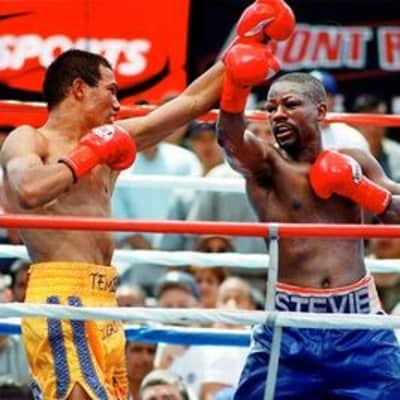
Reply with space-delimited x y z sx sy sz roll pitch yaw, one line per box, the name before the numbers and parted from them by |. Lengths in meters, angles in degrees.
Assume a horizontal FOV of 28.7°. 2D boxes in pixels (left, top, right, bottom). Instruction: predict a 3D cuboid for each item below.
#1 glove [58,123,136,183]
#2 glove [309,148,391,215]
glove | -0.442 -0.208 3.371 0.142 0.213 0.359 1 12 34
glove | 0.661 -0.074 3.613 0.412 0.215 0.160 24 -20 -12
